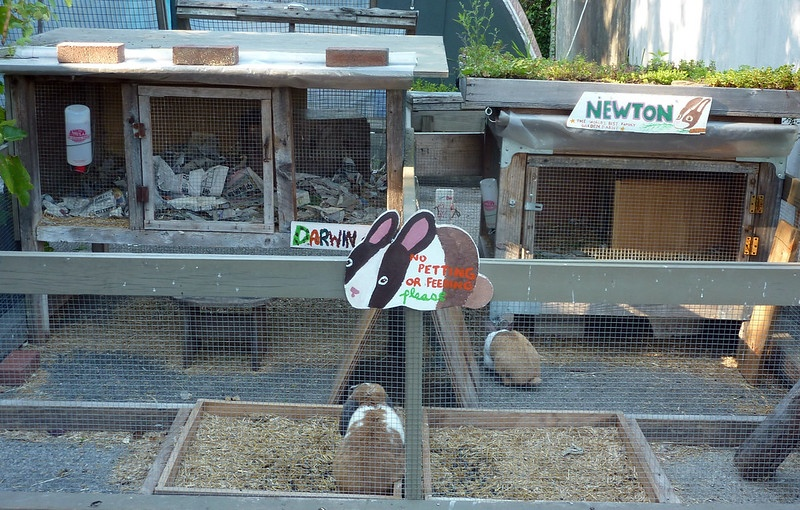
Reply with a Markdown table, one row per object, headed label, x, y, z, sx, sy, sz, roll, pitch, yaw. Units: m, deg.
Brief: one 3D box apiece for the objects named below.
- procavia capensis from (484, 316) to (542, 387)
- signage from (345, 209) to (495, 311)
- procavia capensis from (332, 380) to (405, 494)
| label | x | y | z | sx | sy | sz | roll | pitch | yaw |
| --- | --- | --- | --- | --- | --- | --- | --- | --- | --- |
| procavia capensis | 1.183 | 1.073 | 8.584 | 0.547 | 0.498 | 0.932 | -14 | 22 | -38 |
| signage | 0.130 | 0.031 | 5.444 | 1.065 | 0.716 | 0.043 | 1 | -6 | 16 |
| procavia capensis | -0.227 | 1.527 | 6.486 | 0.424 | 0.834 | 0.363 | -2 | -24 | 4 |
